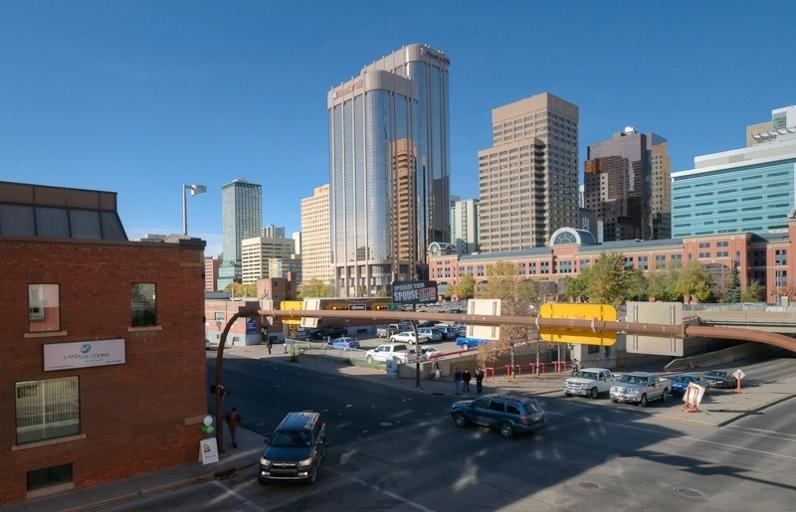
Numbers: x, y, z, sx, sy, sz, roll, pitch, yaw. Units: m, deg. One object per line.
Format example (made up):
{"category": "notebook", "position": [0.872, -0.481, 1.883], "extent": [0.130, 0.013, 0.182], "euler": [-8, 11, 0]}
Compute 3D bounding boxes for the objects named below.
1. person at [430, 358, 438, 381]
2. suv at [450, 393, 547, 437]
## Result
{"category": "person", "position": [3.261, 9.900, 63.626], "extent": [0.730, 1.525, 1.581], "euler": [0, 9, 0]}
{"category": "suv", "position": [6.714, 10.663, 49.956], "extent": [5.448, 2.129, 2.582], "euler": [3, -2, 38]}
